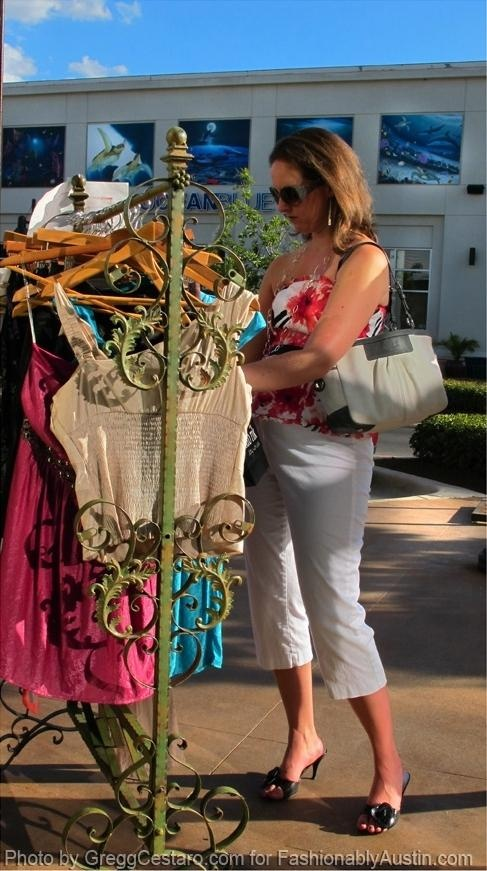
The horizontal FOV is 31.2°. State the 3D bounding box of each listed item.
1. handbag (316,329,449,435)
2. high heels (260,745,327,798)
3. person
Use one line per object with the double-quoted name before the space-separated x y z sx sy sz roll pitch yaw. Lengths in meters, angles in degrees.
"handbag" 0.340 -0.125 2.123 0.313 0.265 0.130 0 9 -22
"high heels" 0.149 0.961 2.456 0.201 0.075 0.070 11 -10 -42
"person" 0.239 0.132 2.224 0.511 1.764 0.653 3 9 -1
